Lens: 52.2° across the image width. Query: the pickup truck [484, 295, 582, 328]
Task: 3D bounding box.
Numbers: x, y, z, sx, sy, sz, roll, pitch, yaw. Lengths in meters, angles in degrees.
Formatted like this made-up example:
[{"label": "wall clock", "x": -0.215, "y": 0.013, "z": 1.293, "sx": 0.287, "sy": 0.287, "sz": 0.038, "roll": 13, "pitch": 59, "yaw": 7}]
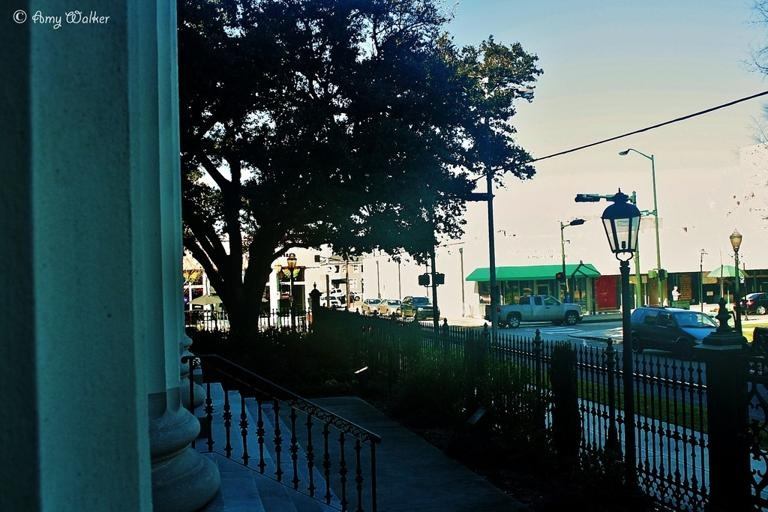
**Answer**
[{"label": "pickup truck", "x": 7.741, "y": 2.879, "z": 40.227, "sx": 4.797, "sy": 1.779, "sz": 2.197, "roll": -2, "pitch": 0, "yaw": -12}]
